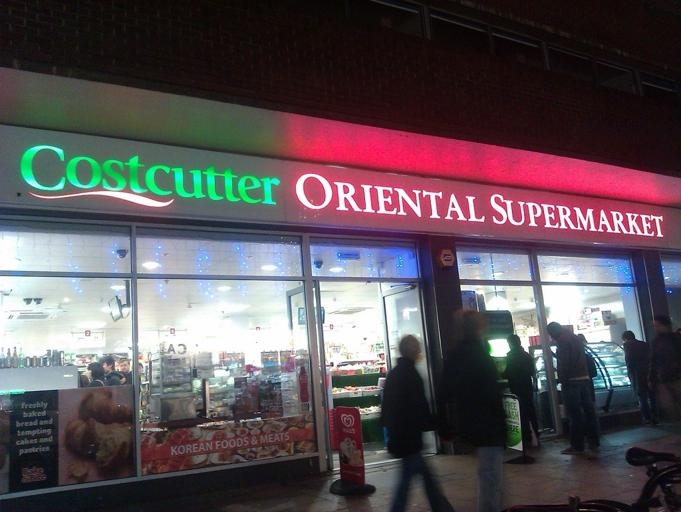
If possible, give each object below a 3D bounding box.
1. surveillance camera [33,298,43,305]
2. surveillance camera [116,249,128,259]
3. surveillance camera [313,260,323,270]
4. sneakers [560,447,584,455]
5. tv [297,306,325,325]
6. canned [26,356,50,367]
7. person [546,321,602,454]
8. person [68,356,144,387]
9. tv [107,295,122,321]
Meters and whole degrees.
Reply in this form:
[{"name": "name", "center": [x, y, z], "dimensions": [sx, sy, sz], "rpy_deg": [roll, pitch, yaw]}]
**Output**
[{"name": "surveillance camera", "center": [-3.950, 0.594, 7.470], "dimensions": [0.090, 0.081, 0.091], "rpy_deg": [-16, -17, 42]}, {"name": "surveillance camera", "center": [-3.013, -0.041, 7.900], "dimensions": [0.124, 0.133, 0.049], "rpy_deg": [-4, -16, -25]}, {"name": "surveillance camera", "center": [-0.355, 0.155, 9.113], "dimensions": [0.154, 0.112, 0.137], "rpy_deg": [4, -9, -31]}, {"name": "sneakers", "center": [3.549, 3.002, 8.757], "dimensions": [0.357, 0.130, 0.116], "rpy_deg": [0, -13, 12]}, {"name": "tv", "center": [-0.471, 0.917, 8.753], "dimensions": [0.327, 0.211, 0.013], "rpy_deg": [4, -14, -20]}, {"name": "canned", "center": [-3.861, 1.346, 7.307], "dimensions": [0.253, 0.144, 0.059], "rpy_deg": [1, -12, -31]}, {"name": "person", "center": [3.710, 2.034, 9.065], "dimensions": [0.711, 1.987, 0.444], "rpy_deg": [4, -14, -41]}, {"name": "person", "center": [-3.083, 1.525, 7.523], "dimensions": [0.795, 0.393, 0.526], "rpy_deg": [1, -4, -19]}, {"name": "tv", "center": [-3.065, 0.723, 7.733], "dimensions": [0.306, 0.276, 0.109], "rpy_deg": [-16, -12, 38]}]
